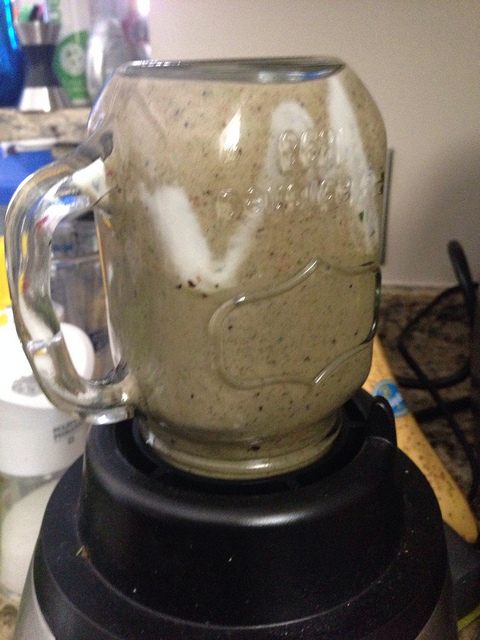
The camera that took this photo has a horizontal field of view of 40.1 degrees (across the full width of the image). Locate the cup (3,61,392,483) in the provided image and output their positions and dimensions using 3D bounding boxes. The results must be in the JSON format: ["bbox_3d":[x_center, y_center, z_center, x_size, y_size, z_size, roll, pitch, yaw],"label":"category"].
[{"bbox_3d":[-0.018,-0.056,0.415,0.222,0.175,0.246,-11,111,-29],"label":"cup"}]

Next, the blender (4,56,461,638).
[{"bbox_3d":[0.009,-0.009,0.462,0.282,0.392,0.276,-9,25,-20],"label":"blender"}]
